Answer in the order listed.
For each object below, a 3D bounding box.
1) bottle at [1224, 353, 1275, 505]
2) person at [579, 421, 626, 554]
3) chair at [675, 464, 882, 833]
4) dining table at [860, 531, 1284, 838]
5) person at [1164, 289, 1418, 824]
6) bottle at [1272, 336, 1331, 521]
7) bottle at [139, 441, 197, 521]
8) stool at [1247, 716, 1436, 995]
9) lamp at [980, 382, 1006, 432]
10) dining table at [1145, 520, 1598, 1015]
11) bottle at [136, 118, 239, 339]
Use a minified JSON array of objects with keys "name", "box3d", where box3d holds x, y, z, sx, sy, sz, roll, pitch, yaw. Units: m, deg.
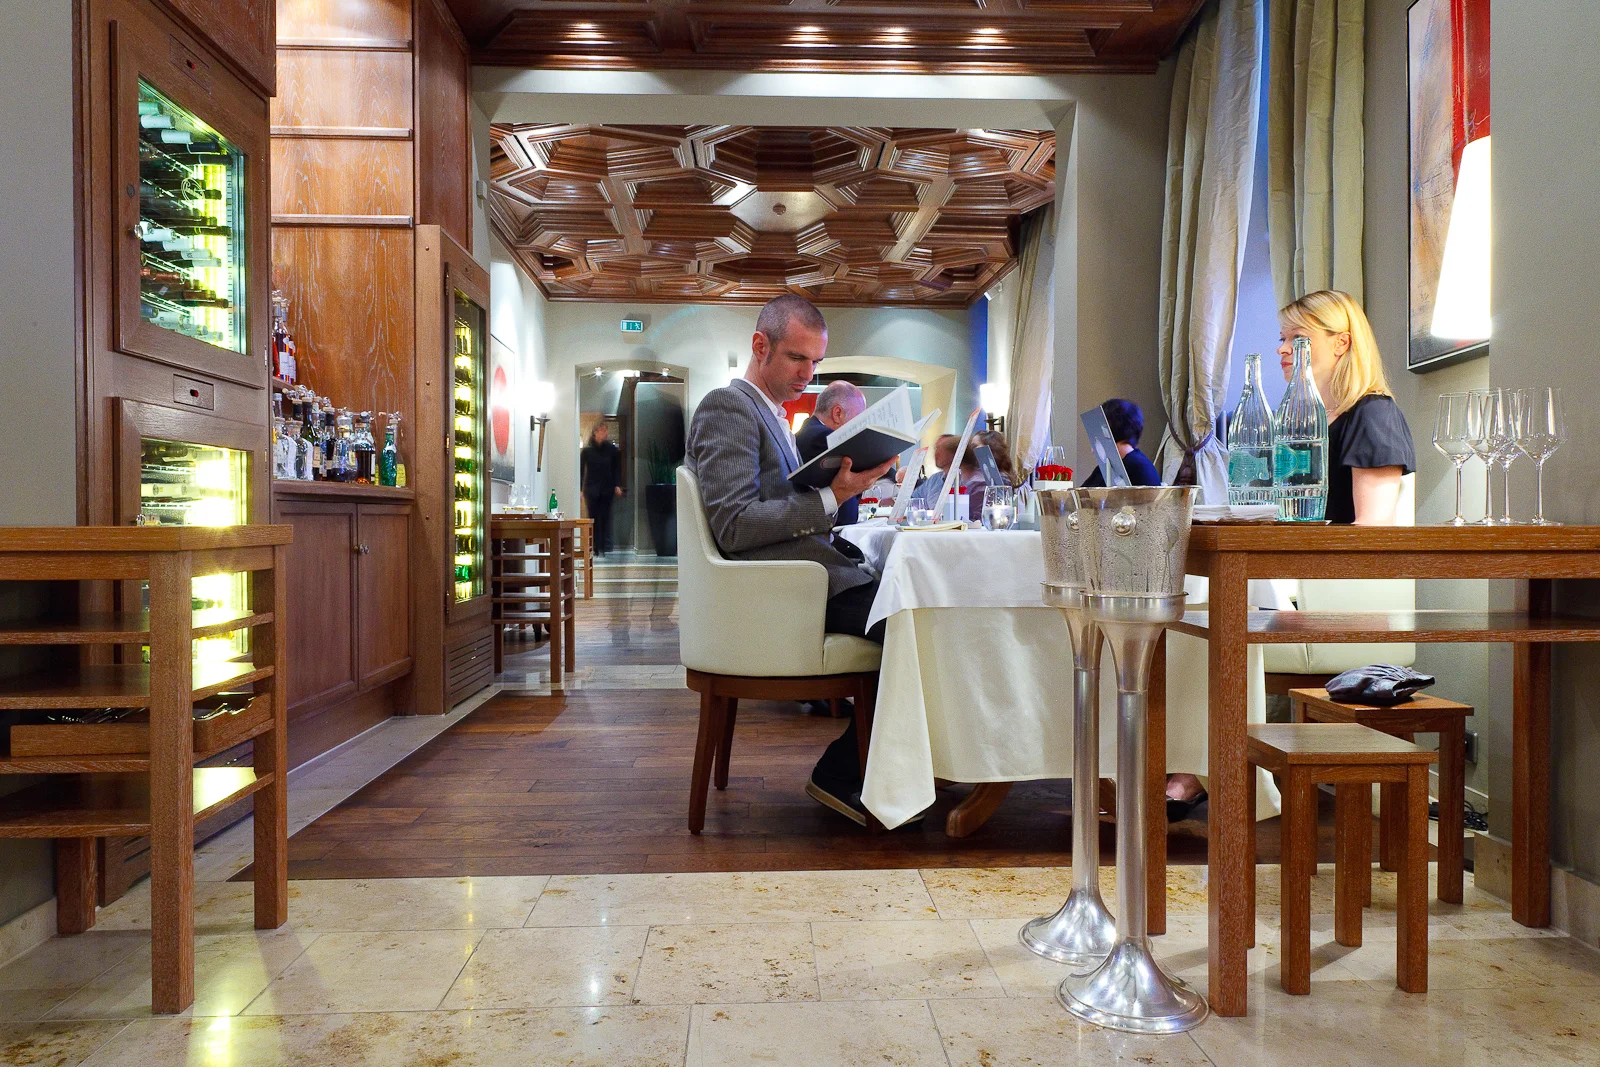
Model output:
[{"name":"bottle","box3d":[1.210,-0.285,3.017,0.102,0.398,0.193,-4,9,-19]},{"name":"person","box3d":[-2.215,-0.521,12.234,0.472,1.535,0.346,-2,9,-12]},{"name":"chair","box3d":[0.083,0.393,4.388,1.066,1.586,1.151,0,0,-1]},{"name":"dining table","box3d":[0.781,0.431,3.469,1.049,0.620,1.070,1,-1,1]},{"name":"person","box3d":[1.819,-0.222,4.377,0.683,2.024,1.000,3,-1,18]},{"name":"bottle","box3d":[1.318,-0.281,2.945,0.125,0.473,0.237,1,9,14]},{"name":"bottle","box3d":[-1.974,-0.161,3.435,0.073,0.193,0.201,3,2,14]},{"name":"stool","box3d":[1.545,0.842,2.952,0.324,0.545,0.704,-4,-10,33]},{"name":"lamp","box3d":[1.867,-1.258,10.844,0.227,0.460,0.876,1,8,9]},{"name":"dining table","box3d":[1.543,0.659,3.344,1.148,1.391,1.530,0,2,2]},{"name":"bottle","box3d":[-1.901,-0.938,3.457,0.109,0.707,0.408,2,9,15]}]
